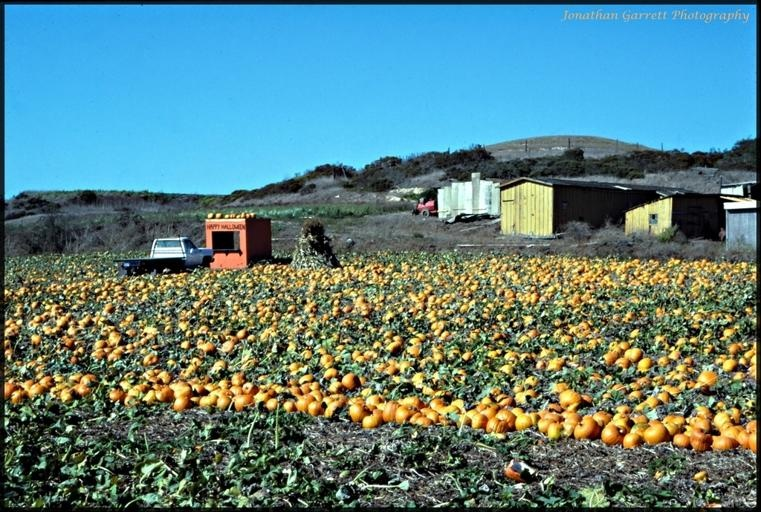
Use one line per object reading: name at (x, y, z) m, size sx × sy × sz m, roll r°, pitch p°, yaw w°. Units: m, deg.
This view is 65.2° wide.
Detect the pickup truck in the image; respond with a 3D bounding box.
pickup truck at (-6.073, 0.090, 16.511) m, size 1.133 × 1.059 × 2.256 m, roll 5°, pitch 10°, yaw 36°
